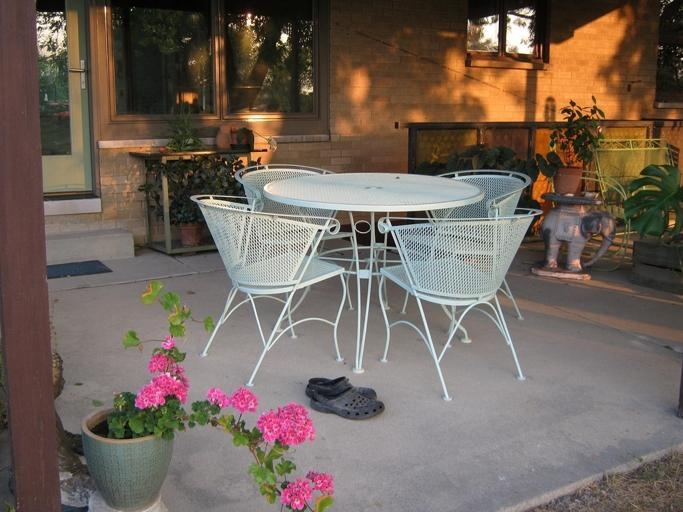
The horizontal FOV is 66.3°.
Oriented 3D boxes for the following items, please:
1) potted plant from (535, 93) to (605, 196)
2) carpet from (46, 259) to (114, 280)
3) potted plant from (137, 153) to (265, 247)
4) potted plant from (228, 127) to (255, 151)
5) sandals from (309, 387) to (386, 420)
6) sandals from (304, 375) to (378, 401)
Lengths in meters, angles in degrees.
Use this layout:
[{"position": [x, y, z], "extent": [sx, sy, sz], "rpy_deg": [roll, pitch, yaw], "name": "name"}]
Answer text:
[{"position": [2.464, -1.110, 5.649], "extent": [0.537, 0.858, 0.538], "rpy_deg": [11, 7, 24], "name": "potted plant"}, {"position": [-2.379, 0.110, 4.743], "extent": [0.494, 0.015, 0.518], "rpy_deg": [-8, 18, -30], "name": "carpet"}, {"position": [-1.511, -0.723, 5.670], "extent": [1.429, 1.169, 0.946], "rpy_deg": [-4, 20, -20], "name": "potted plant"}, {"position": [-1.072, -1.256, 5.627], "extent": [0.246, 0.241, 0.184], "rpy_deg": [-2, 16, -12], "name": "potted plant"}, {"position": [0.028, 0.707, 2.492], "extent": [0.253, 0.083, 0.143], "rpy_deg": [1, 11, 12], "name": "sandals"}, {"position": [-0.001, 0.653, 2.598], "extent": [0.338, 0.097, 0.132], "rpy_deg": [-2, 13, 9], "name": "sandals"}]
